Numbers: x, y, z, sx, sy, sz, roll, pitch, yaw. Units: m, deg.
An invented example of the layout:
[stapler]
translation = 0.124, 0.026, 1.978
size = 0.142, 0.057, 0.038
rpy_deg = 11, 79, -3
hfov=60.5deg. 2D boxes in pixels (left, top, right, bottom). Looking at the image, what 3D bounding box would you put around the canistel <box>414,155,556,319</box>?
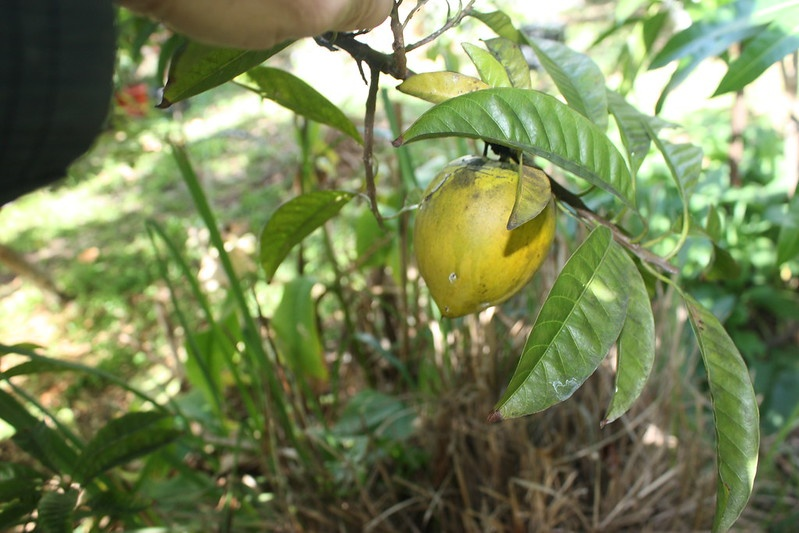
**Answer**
[canistel]
translation = 0.125, -0.037, 1.147
size = 0.204, 0.228, 0.280
rpy_deg = 19, -69, 23
